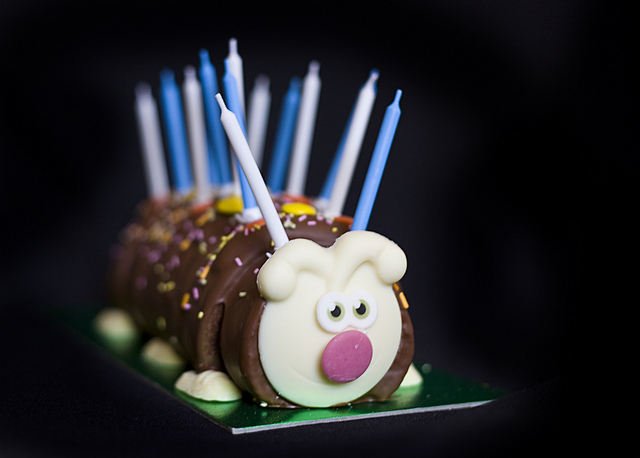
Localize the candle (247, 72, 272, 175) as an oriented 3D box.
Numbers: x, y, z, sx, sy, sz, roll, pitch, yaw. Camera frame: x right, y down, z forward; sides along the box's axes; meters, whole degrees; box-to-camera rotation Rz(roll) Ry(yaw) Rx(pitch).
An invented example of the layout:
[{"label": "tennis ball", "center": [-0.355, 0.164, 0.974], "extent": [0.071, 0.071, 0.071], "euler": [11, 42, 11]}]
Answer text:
[{"label": "candle", "center": [-0.279, -0.480, 2.870], "extent": [0.108, 0.557, 0.113], "euler": [-2, 44, -9]}]

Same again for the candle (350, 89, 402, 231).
[{"label": "candle", "center": [0.198, -0.223, 2.119], "extent": [0.051, 0.053, 0.524], "euler": [20, 100, 21]}]
